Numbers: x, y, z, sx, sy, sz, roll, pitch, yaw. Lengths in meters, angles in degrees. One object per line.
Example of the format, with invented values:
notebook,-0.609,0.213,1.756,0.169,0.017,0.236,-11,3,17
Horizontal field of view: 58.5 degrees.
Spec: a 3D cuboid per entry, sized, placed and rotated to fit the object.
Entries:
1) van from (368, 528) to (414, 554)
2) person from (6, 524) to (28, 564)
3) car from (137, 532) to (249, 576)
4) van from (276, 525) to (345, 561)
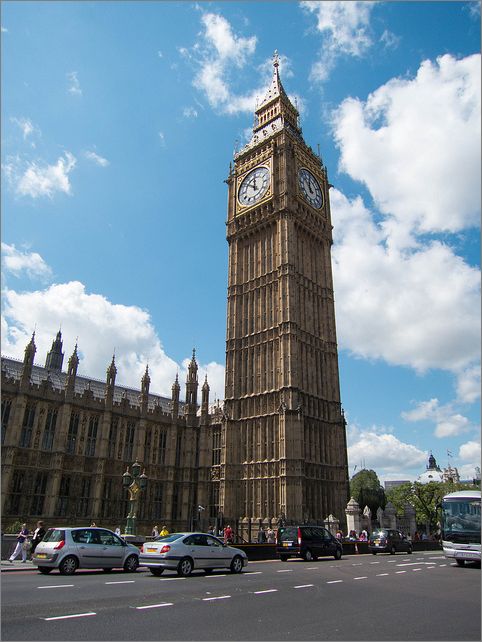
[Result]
van,9.914,14.584,28.731,2.788,1.299,1.616,17,-30,-33
person,-9.055,9.125,17.585,0.618,1.419,2.375,10,-25,-23
car,-1.474,7.581,14.556,3.480,1.226,1.583,20,-37,-32
van,3.674,11.378,22.006,3.855,1.594,1.574,16,-27,-33
